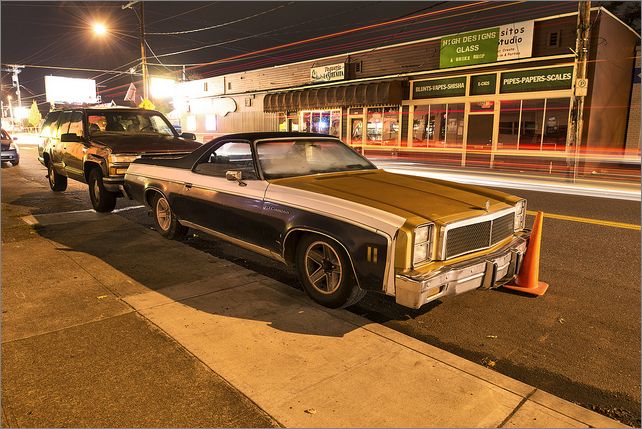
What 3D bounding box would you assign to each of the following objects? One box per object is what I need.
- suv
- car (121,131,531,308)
[{"bbox_3d":[-5.724,-1.855,10.470,4.835,1.943,2.991,11,15,43],"label":"suv"},{"bbox_3d":[-0.254,-0.160,5.886,5.283,1.539,2.720,14,20,39],"label":"car"}]
